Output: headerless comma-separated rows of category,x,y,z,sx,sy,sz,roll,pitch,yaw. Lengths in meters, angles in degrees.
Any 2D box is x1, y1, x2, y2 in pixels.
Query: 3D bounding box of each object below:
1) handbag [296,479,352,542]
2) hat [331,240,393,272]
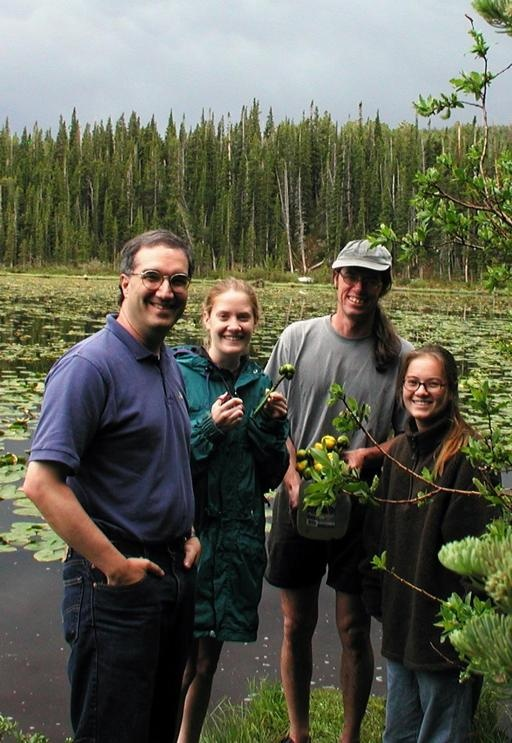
handbag,0.261,0.575,2.619,0.233,0.227,0.147,6,7,19
hat,0.472,-0.519,2.881,0.260,0.141,0.241,5,7,10
